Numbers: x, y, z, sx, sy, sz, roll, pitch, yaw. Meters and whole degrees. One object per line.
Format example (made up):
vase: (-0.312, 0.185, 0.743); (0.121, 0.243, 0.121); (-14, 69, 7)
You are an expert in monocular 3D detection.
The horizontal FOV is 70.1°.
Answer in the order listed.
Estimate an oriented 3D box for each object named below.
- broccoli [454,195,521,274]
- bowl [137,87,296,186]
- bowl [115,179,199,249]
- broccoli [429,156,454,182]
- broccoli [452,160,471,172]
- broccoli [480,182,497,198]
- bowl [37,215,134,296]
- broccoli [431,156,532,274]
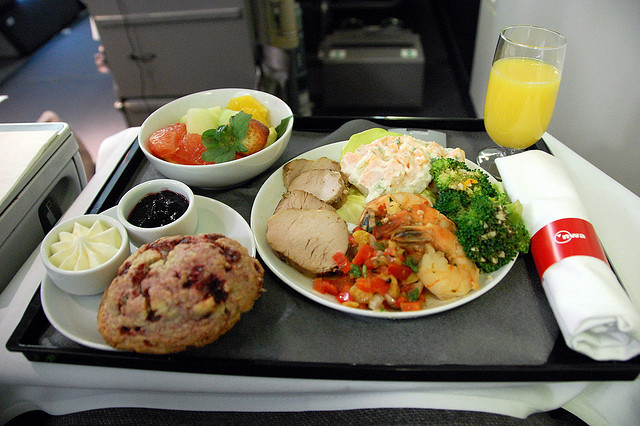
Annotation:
broccoli: (0.634, 0.102, 1.884); (0.228, 0.158, 0.290); (-25, 84, -18)
bowl: (-0.487, -0.355, 2.153); (0.562, 0.285, 0.580); (-1, 38, 1)
bowl: (-0.652, 0.027, 1.925); (0.288, 0.220, 0.302); (0, 44, 0)
broccoli: (0.528, -0.196, 2.028); (0.093, 0.056, 0.096); (40, 85, 6)
broccoli: (0.603, -0.207, 1.978); (0.047, 0.016, 0.048); (0, 33, -5)
broccoli: (0.706, -0.100, 1.908); (0.053, 0.014, 0.053); (-7, 54, -25)
bowl: (-0.905, 0.153, 1.824); (0.294, 0.203, 0.333); (0, 46, -5)
broccoli: (0.627, 0.017, 1.936); (0.315, 0.191, 0.450); (2, 54, -22)
